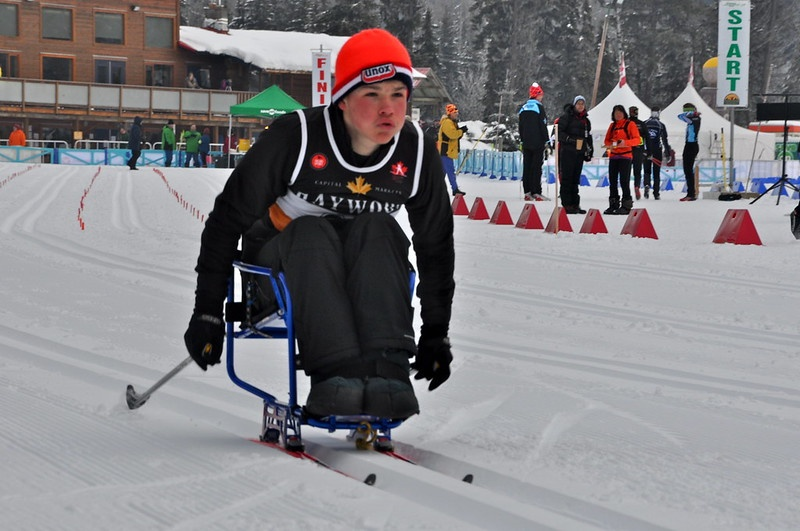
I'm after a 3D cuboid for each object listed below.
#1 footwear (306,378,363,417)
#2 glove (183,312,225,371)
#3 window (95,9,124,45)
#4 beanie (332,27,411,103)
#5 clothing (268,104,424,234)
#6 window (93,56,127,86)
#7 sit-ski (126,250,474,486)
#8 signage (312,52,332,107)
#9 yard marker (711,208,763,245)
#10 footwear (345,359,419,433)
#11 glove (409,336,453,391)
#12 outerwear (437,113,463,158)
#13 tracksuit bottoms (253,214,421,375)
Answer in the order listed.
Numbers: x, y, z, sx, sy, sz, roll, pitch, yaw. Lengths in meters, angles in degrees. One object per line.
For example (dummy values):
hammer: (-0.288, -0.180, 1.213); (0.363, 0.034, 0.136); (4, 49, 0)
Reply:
footwear: (-0.259, 0.551, 3.695); (0.176, 0.115, 0.186); (2, -3, -21)
glove: (-0.879, 0.356, 4.047); (0.118, 0.252, 0.187); (-10, -20, 39)
window: (-14.963, -12.244, 45.477); (1.896, 1.876, 0.198); (-4, 3, -24)
beanie: (-0.120, -0.943, 4.089); (0.366, 0.319, 0.296); (-8, -8, 36)
clothing: (-0.248, -0.469, 4.195); (0.681, 0.366, 0.678); (2, -42, -23)
window: (-14.862, -9.986, 45.159); (2.345, 1.954, 0.256); (-2, 8, -6)
sit-ski: (-0.624, 0.382, 4.617); (0.713, 1.041, 2.276); (0, 6, -42)
signage: (-1.338, -3.206, 15.259); (0.449, 1.372, 0.031); (-1, -32, -4)
yard marker: (4.279, -0.504, 11.375); (0.570, 0.409, 0.315); (4, 5, 45)
footwear: (-0.141, 0.601, 3.983); (0.464, 0.241, 0.631); (-3, -10, 1)
glove: (0.160, 0.451, 4.193); (0.207, 0.234, 0.101); (5, 5, 3)
outerwear: (1.107, -2.737, 19.030); (0.666, 1.020, 0.862); (1, 3, 7)
tracksuit bottoms: (-0.258, 0.107, 3.969); (0.762, 0.695, 0.472); (-9, -19, -14)
